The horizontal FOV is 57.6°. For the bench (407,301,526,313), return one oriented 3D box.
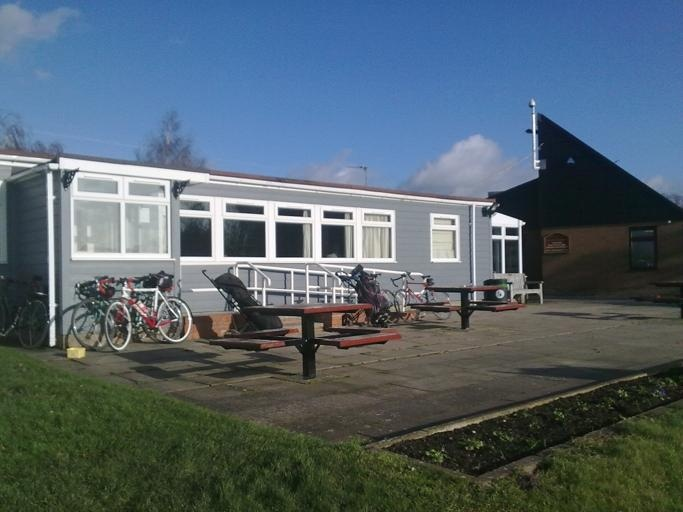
[{"bbox_3d":[2.625,1.091,13.080,1.507,0.203,1.863,0,-4,-32],"label":"bench"}]

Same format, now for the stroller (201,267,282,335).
[{"bbox_3d":[-1.768,0.626,10.755,1.371,0.785,0.473,10,26,44],"label":"stroller"}]

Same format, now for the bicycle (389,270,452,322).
[{"bbox_3d":[1.895,0.942,14.878,0.704,1.038,1.885,-12,6,-37],"label":"bicycle"}]

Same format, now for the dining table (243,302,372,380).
[{"bbox_3d":[-0.478,1.019,8.204,1.195,0.843,1.156,0,0,43],"label":"dining table"}]

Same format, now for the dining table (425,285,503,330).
[{"bbox_3d":[2.419,0.963,13.209,1.124,0.836,1.193,-3,-4,36],"label":"dining table"}]

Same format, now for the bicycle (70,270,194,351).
[{"bbox_3d":[-3.533,0.931,10.738,0.905,1.096,2.098,-8,-9,37],"label":"bicycle"}]
